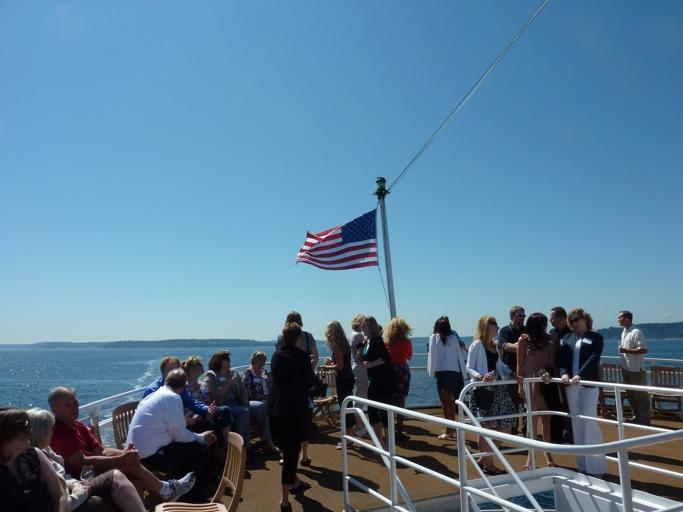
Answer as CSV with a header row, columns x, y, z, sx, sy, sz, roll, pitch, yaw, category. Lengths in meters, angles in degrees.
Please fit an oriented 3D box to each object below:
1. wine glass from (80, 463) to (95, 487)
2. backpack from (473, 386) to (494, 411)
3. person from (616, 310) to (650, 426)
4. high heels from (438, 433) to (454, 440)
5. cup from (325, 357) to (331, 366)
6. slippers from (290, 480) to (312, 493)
x,y,z,sx,sy,sz,roll,pitch,yaw,category
-2.744,2.351,5.882,0.120,0.175,0.248,3,-12,-25,wine glass
1.985,1.997,7.621,0.273,0.328,0.214,-3,-10,10,backpack
5.441,2.066,10.123,0.455,2.059,1.356,-6,-11,28,person
1.824,3.144,9.425,0.215,0.098,0.119,0,-8,23,high heels
-0.248,2.169,11.132,0.079,0.144,0.178,8,-10,-21,cup
-0.554,3.151,7.398,0.109,0.148,0.336,-6,-6,40,slippers
